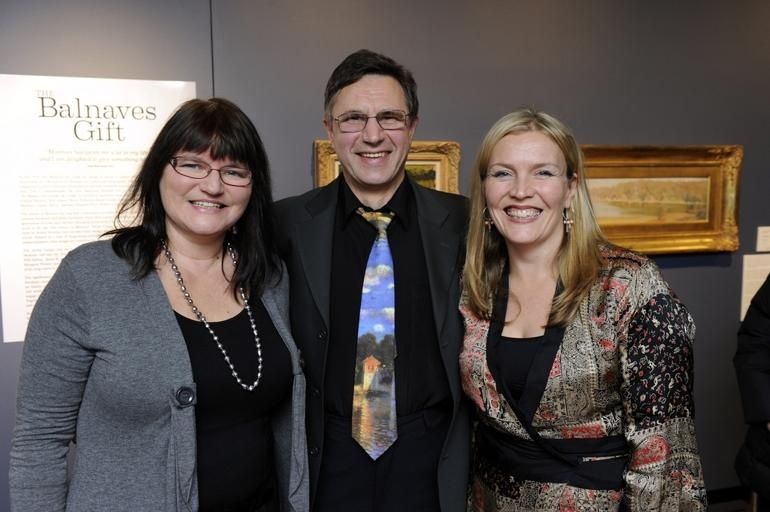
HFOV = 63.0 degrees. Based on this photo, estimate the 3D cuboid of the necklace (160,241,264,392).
[{"bbox_3d":[-0.820,0.317,2.874,0.288,0.063,0.897,2,48,-48],"label":"necklace"}]
